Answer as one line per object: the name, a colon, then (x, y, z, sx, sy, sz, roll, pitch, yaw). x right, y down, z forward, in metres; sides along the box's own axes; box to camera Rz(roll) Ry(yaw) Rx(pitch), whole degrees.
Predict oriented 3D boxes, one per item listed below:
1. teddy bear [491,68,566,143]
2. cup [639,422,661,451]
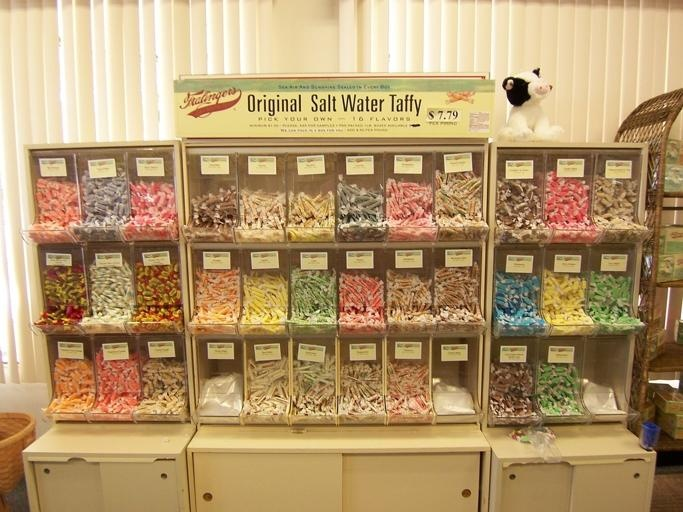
teddy bear: (1.131, -0.890, 3.615, 0.516, 0.546, 0.452, -3, 2, -23)
cup: (1.780, 1.035, 3.286, 0.090, 0.165, 0.071, 4, 9, 28)
